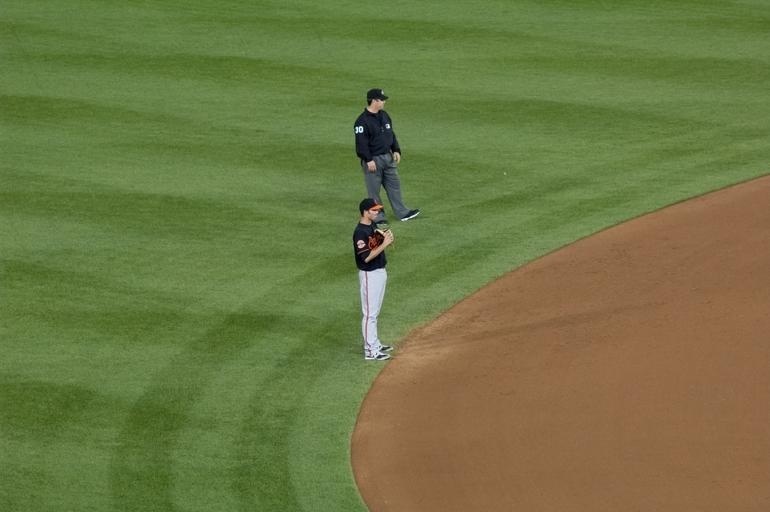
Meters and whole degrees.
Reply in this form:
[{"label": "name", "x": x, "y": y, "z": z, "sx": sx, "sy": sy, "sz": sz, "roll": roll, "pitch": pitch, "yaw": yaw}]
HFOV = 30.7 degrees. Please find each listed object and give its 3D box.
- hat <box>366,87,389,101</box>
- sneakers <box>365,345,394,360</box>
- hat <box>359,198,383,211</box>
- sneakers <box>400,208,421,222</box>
[{"label": "hat", "x": -0.136, "y": -2.635, "z": 22.829, "sx": 0.319, "sy": 0.226, "sz": 0.182, "roll": -3, "pitch": -71, "yaw": 4}, {"label": "sneakers", "x": -0.096, "y": 1.521, "z": 21.670, "sx": 0.262, "sy": 0.279, "sz": 0.103, "roll": -7, "pitch": -77, "yaw": 7}, {"label": "hat", "x": -0.235, "y": -0.778, "z": 21.316, "sx": 0.282, "sy": 0.199, "sz": 0.133, "roll": -3, "pitch": -81, "yaw": 5}, {"label": "sneakers", "x": 0.423, "y": -0.703, "z": 23.526, "sx": 0.362, "sy": 0.144, "sz": 0.173, "roll": -25, "pitch": -64, "yaw": 13}]
